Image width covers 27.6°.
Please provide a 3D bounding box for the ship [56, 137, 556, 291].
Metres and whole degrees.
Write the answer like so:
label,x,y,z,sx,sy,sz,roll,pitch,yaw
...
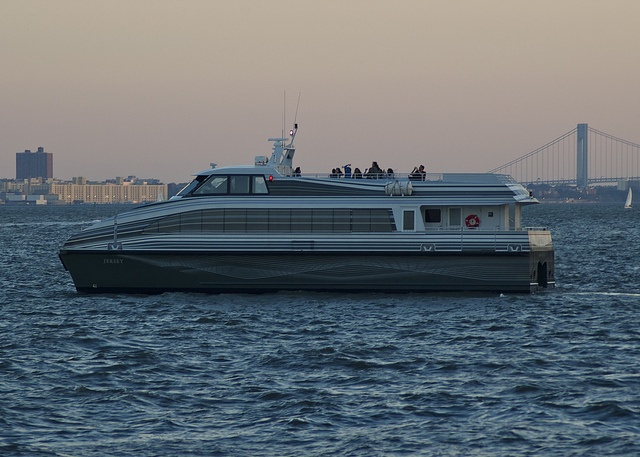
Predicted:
label,x,y,z,sx,sy,sz,roll,pitch,yaw
ship,0.522,-0.553,57.632,23.004,5.478,7.427,1,0,3
